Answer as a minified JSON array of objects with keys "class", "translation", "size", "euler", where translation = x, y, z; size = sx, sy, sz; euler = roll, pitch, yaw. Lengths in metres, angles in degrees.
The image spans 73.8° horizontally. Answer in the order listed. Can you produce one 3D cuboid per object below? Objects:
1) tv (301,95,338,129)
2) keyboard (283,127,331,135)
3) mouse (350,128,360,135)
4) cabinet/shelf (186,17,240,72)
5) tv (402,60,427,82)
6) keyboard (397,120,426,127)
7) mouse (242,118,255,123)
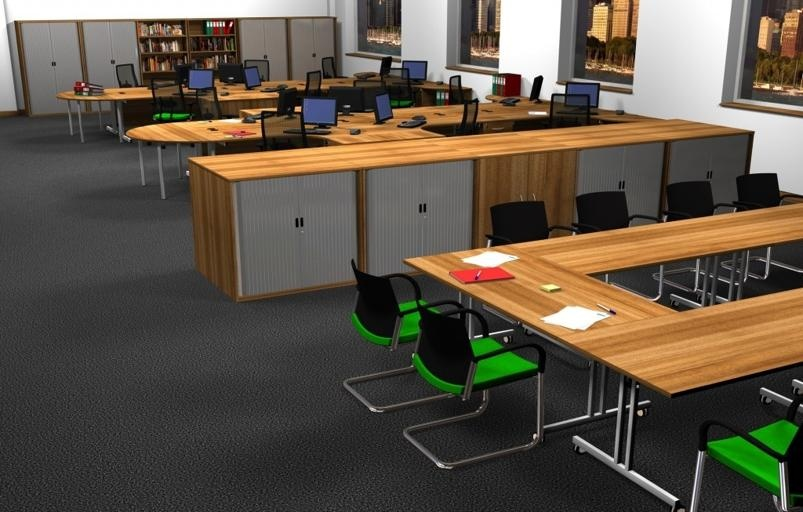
[{"class":"tv","translation":[-1.232,-2.131,8.020],"size":[0.748,0.455,0.246],"euler":[3,11,10]},{"class":"keyboard","translation":[-1.312,-1.810,7.757],"size":[0.749,0.086,0.433],"euler":[5,19,20]},{"class":"mouse","translation":[-0.657,-1.772,7.667],"size":[0.159,0.078,0.146],"euler":[-7,15,-25]},{"class":"cabinet/shelf","translation":[-5.593,-6.190,15.613],"size":[1.745,1.193,0.447],"euler":[1,23,6]},{"class":"tv","translation":[0.320,-4.540,13.233],"size":[0.835,0.513,0.305],"euler":[4,21,12]},{"class":"keyboard","translation":[0.156,-2.053,8.333],"size":[0.351,0.093,0.542],"euler":[6,19,21]},{"class":"mouse","translation":[-2.467,-2.159,8.642],"size":[0.164,0.047,0.156],"euler":[-4,13,-22]}]
